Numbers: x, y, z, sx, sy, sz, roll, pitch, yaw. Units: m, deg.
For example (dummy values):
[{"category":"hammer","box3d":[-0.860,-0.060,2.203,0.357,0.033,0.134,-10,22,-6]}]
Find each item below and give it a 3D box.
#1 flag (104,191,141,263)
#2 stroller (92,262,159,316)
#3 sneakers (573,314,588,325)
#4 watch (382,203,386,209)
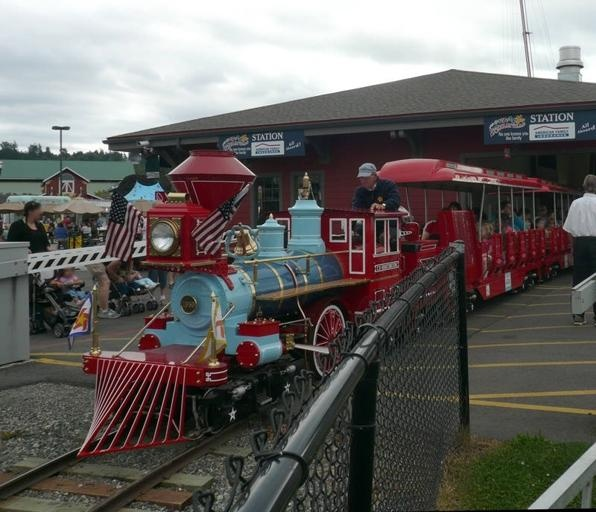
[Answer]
[{"category":"flag","box3d":[-1.698,-0.277,5.411,0.316,0.697,0.430,1,7,-18]},{"category":"stroller","box3d":[-3.735,0.729,11.467,1.319,1.149,1.284,-3,-1,21]},{"category":"sneakers","box3d":[4.851,1.091,9.590,0.197,0.096,0.261,-1,-4,14]},{"category":"watch","box3d":[1.300,-0.750,8.393,0.087,0.073,0.023,2,-10,-8]}]
